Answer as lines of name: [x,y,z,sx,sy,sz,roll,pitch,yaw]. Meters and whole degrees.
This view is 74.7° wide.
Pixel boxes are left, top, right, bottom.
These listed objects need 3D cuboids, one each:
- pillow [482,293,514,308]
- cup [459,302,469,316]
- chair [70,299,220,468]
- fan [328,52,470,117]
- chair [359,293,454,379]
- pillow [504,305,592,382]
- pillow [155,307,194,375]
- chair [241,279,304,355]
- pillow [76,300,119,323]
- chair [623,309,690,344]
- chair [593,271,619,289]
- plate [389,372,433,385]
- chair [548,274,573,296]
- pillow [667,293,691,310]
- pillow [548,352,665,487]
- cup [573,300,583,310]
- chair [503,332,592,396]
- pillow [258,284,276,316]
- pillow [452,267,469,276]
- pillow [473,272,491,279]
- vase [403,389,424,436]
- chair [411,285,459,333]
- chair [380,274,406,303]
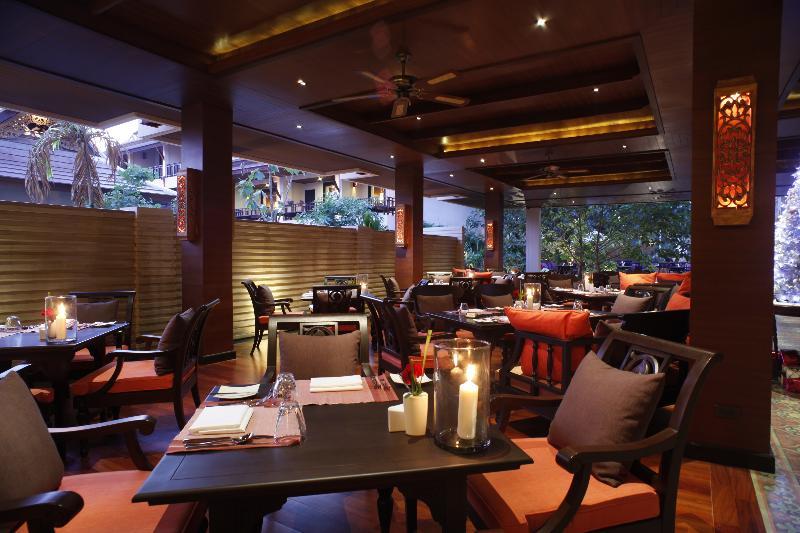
pillow: [1.326,0.459,6.951,0.434,0.150,0.418,-1,3,-1]
cup: [0.734,0.496,5.950,0.124,0.131,0.119,-1,1,0]
chair: [-2.328,0.971,4.882,1.243,0.981,0.897,-5,4,-18]
fan: [0.054,-2.184,6.492,1.407,0.649,1.868,-1,3,-5]
chair: [0.172,0.780,5.417,0.932,0.934,0.908,-2,5,8]
pillow: [1.416,0.742,4.823,0.508,0.727,0.815,1,-1,-30]
pillow: [-2.104,0.724,4.919,0.348,0.566,0.667,-9,1,-14]
chair: [-1.820,0.736,7.779,0.846,1.003,0.749,-2,2,-18]
pillow: [-3.280,0.488,5.682,0.327,0.214,0.108,-2,-25,-11]
chair: [2.451,0.610,5.022,0.529,0.268,0.503,1,-16,14]
chair: [4.225,0.282,10.777,0.346,0.294,0.179,0,7,-2]
plate: [0.058,0.777,3.705,0.202,0.033,0.204,0,0,3]
chair: [2.877,0.321,9.306,0.366,0.404,0.354,0,-6,-3]
pillow: [3.020,0.378,5.704,0.186,0.141,0.590,0,3,27]
pillow: [1.333,0.973,3.502,0.458,0.648,0.765,-4,5,-12]
cup: [2.091,0.446,6.136,0.172,0.072,0.250,1,5,14]
chair: [1.367,0.827,4.768,0.595,0.554,0.789,-5,7,-33]
pillow: [-1.964,0.481,7.679,0.229,0.440,0.673,-2,3,-15]
pillow: [1.345,0.130,11.350,0.314,0.113,0.298,-3,3,-3]
pillow: [1.551,0.166,9.874,0.199,0.064,0.189,1,27,14]
vase: [0.078,0.877,3.214,0.191,0.251,0.194,3,-34,2]
chair: [0.371,0.518,6.895,0.669,0.637,0.575,0,-20,-3]
chair: [-0.131,0.383,8.954,0.433,0.569,0.399,0,-1,31]
